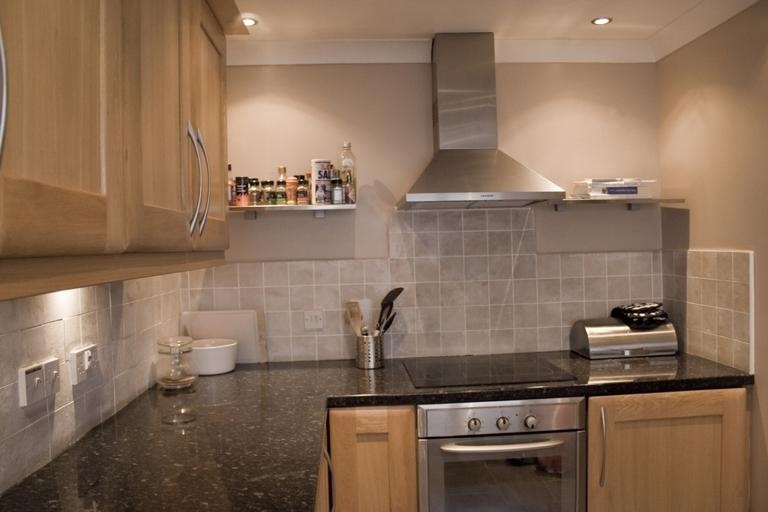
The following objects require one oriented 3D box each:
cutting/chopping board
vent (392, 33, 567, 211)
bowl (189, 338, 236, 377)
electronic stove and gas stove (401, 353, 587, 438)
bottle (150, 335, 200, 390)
[{"bbox_3d":[-0.826,0.404,3.345,0.323,0.331,0.081,2,10,-12],"label":"cutting/chopping board"},{"bbox_3d":[0.434,-0.715,3.569,0.904,1.076,0.916,-2,10,1],"label":"vent"},{"bbox_3d":[-0.886,0.519,3.328,0.251,0.144,0.255,-1,5,0],"label":"bowl"},{"bbox_3d":[0.513,0.658,3.164,0.829,0.214,0.534,-1,13,-3],"label":"electronic stove and gas stove"},{"bbox_3d":[-0.940,0.486,2.902,0.185,0.242,0.179,3,9,-1],"label":"bottle"}]
